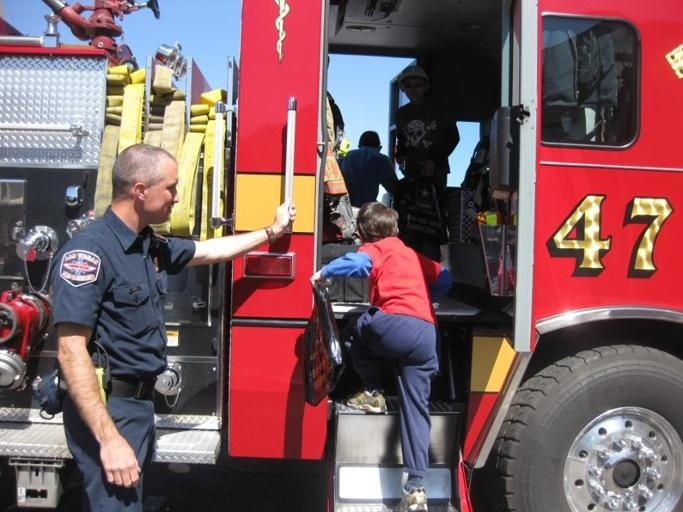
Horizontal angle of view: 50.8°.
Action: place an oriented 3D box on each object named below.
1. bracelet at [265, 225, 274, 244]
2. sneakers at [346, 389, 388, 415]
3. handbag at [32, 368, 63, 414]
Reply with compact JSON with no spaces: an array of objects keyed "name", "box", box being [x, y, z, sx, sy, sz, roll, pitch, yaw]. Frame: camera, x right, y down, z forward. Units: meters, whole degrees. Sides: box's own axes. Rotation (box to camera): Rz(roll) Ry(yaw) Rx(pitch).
[{"name":"bracelet","box":[-0.431,-0.113,4.355,0.050,0.090,0.076,-9,8,-12]},{"name":"sneakers","box":[0.178,0.921,4.553,0.254,0.138,0.111,0,-9,26]},{"name":"handbag","box":[-1.541,0.688,3.781,0.089,0.178,0.238,3,42,-2]}]
